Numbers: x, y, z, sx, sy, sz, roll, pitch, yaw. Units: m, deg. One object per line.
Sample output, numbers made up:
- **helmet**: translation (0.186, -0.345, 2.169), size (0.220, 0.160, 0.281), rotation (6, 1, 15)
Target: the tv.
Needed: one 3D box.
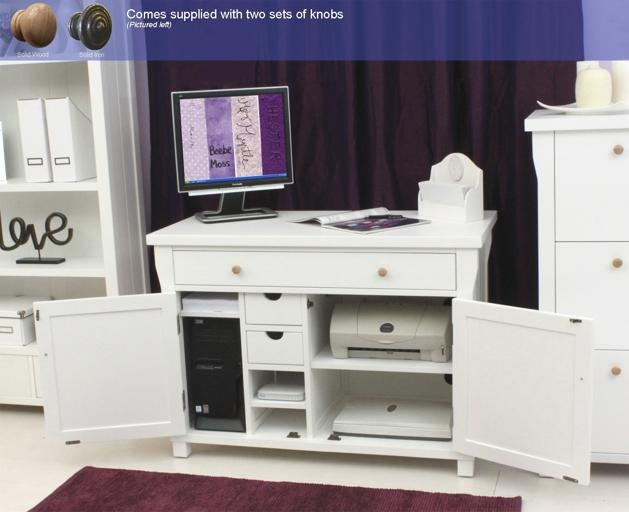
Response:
- **tv**: translation (-0.304, -0.420, 2.468), size (0.507, 0.625, 0.189), rotation (-4, 11, -11)
